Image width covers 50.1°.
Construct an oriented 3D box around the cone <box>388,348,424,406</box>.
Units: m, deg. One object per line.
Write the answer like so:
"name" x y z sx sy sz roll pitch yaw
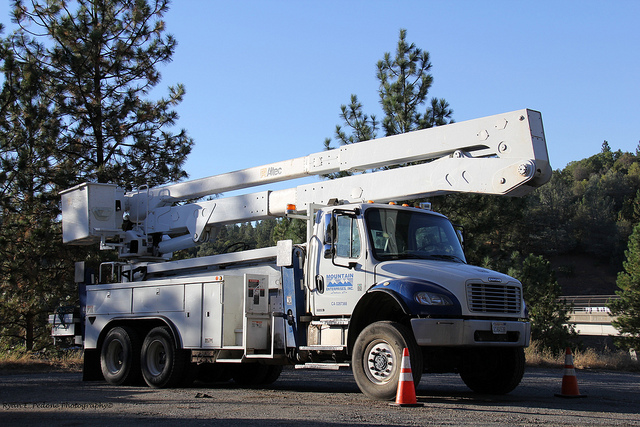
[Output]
"cone" 1.953 3.672 15.602 0.761 1.171 0.758 -3 0 18
